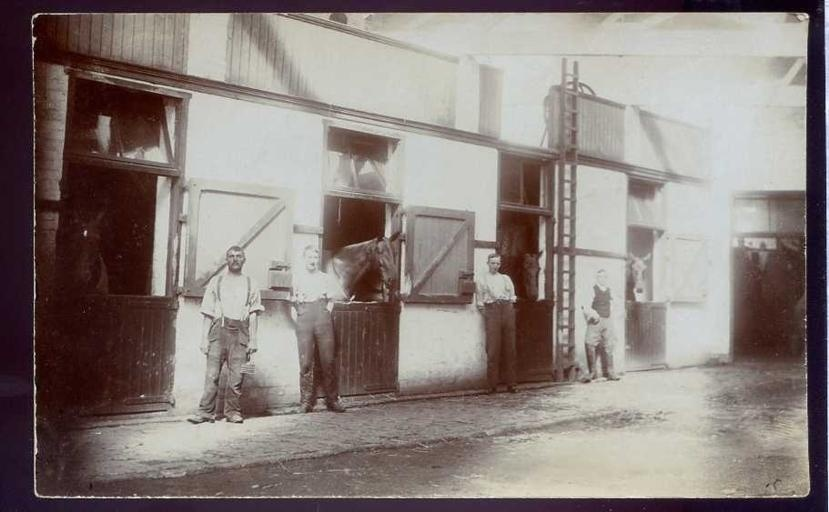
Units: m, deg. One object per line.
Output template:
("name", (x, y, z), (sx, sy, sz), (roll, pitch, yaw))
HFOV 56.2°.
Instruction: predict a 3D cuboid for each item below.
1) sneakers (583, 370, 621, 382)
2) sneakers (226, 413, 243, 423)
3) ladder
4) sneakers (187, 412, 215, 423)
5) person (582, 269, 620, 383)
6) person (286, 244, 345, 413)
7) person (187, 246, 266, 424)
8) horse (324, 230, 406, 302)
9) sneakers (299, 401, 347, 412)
("sneakers", (2.245, 1.457, 9.310), (0.446, 0.105, 0.091), (-1, -4, 13))
("sneakers", (-2.015, 1.805, 8.638), (0.169, 0.073, 0.089), (-1, 0, 7))
("ladder", (1.810, -0.338, 9.226), (0.286, 3.624, 0.498), (0, -4, 6))
("sneakers", (-2.378, 1.799, 8.607), (0.292, 0.142, 0.117), (8, -12, -17))
("person", (2.251, 0.831, 9.396), (0.381, 1.328, 0.150), (-1, -4, 12))
("person", (-1.123, 0.827, 8.855), (0.605, 1.869, 0.152), (2, -4, -29))
("person", (-2.104, 0.874, 8.682), (0.722, 1.963, 0.176), (0, -4, 7))
("horse", (-0.712, 0.051, 9.019), (1.039, 0.717, 0.510), (-2, -26, -28))
("sneakers", (-1.045, 1.708, 8.907), (0.546, 0.219, 0.178), (3, -9, -3))
